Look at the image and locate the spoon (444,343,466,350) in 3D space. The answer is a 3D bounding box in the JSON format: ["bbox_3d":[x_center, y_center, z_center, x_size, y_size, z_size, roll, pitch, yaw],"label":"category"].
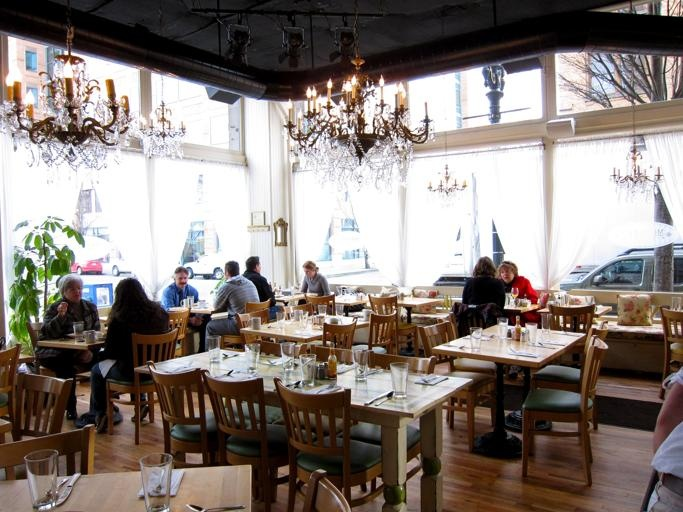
[{"bbox_3d":[1.069,0.850,5.623,0.302,0.053,0.051,5,-4,-20],"label":"spoon"}]

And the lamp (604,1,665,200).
[{"bbox_3d":[4.043,-2.016,7.964,0.732,2.447,1.086,9,15,24],"label":"lamp"}]

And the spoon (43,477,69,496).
[{"bbox_3d":[-1.523,1.228,3.193,0.080,0.067,0.272,-2,-18,-9],"label":"spoon"}]

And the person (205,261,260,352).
[{"bbox_3d":[-1.479,0.806,8.046,0.781,1.388,0.577,2,0,31],"label":"person"}]

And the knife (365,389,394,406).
[{"bbox_3d":[0.272,0.987,4.257,0.069,0.030,0.270,-4,6,30],"label":"knife"}]

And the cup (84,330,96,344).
[{"bbox_3d":[-2.635,0.854,6.249,0.156,0.137,0.093,1,-4,-5],"label":"cup"}]

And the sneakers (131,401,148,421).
[{"bbox_3d":[-2.081,1.605,6.209,0.130,0.311,0.111,7,-6,3],"label":"sneakers"}]

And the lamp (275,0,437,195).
[{"bbox_3d":[0.182,-1.335,5.321,1.246,1.561,0.720,5,14,8],"label":"lamp"}]

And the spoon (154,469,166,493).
[{"bbox_3d":[-0.934,1.168,3.107,0.027,0.103,0.072,12,-11,-30],"label":"spoon"}]

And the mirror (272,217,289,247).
[{"bbox_3d":[-1.112,-0.423,11.210,0.321,0.536,0.142,-4,16,-24],"label":"mirror"}]

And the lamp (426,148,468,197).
[{"bbox_3d":[1.623,-1.224,9.150,0.501,0.655,0.517,-3,-1,38],"label":"lamp"}]
